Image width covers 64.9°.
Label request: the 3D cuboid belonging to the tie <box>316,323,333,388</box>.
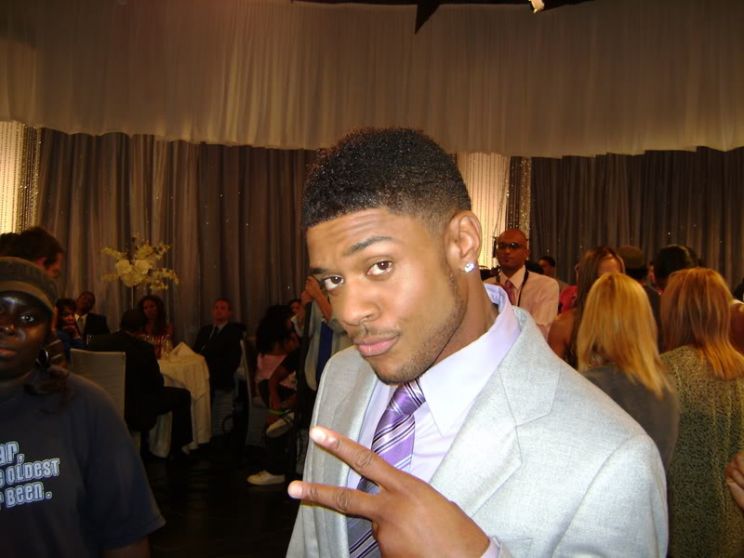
[{"bbox_3d":[-0.353,0.547,4.297,0.217,0.427,0.093,-4,-10,45],"label":"tie"}]

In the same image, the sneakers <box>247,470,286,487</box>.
[{"bbox_3d":[-0.879,1.651,4.870,0.311,0.162,0.123,9,-3,-12],"label":"sneakers"}]
